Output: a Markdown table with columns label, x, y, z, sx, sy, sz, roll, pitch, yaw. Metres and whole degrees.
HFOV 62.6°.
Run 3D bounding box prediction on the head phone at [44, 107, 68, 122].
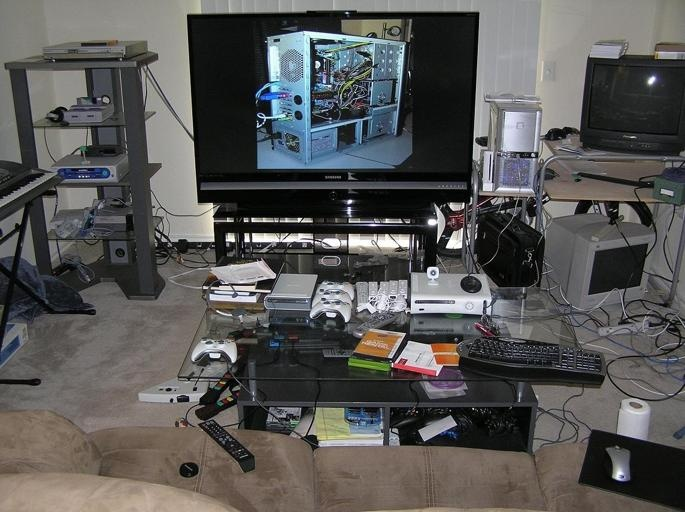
| label | x | y | z | sx | sy | sz | roll | pitch | yaw |
| --- | --- | --- | --- | --- | --- | --- | --- | --- | --- |
| head phone | -1.905 | -0.951 | 3.745 | 0.101 | 0.078 | 0.138 | -13 | 23 | -2 |

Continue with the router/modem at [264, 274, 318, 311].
| label | x | y | z | sx | sy | sz | roll | pitch | yaw |
| --- | --- | --- | --- | --- | --- | --- | --- | --- | --- |
| router/modem | -0.236 | 0.168 | 2.675 | 0.230 | 0.063 | 0.296 | 3 | 20 | 11 |

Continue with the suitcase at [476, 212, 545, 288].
| label | x | y | z | sx | sy | sz | roll | pitch | yaw |
| --- | --- | --- | --- | --- | --- | --- | --- | --- | --- |
| suitcase | 1.142 | -0.035 | 3.855 | 0.252 | 0.425 | 0.554 | -7 | 21 | -13 |

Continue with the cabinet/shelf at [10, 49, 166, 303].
| label | x | y | z | sx | sy | sz | roll | pitch | yaw |
| --- | --- | --- | --- | --- | --- | --- | --- | --- | --- |
| cabinet/shelf | -1.735 | -0.662 | 4.213 | 0.900 | 1.908 | 0.903 | 0 | 19 | 1 |

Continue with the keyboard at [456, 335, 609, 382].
| label | x | y | z | sx | sy | sz | roll | pitch | yaw |
| --- | --- | --- | --- | --- | --- | --- | --- | --- | --- |
| keyboard | 0.758 | 0.425 | 2.273 | 0.587 | 0.152 | 0.226 | 0 | 21 | 5 |

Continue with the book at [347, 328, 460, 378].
| label | x | y | z | sx | sy | sz | roll | pitch | yaw |
| --- | --- | --- | --- | --- | --- | --- | --- | --- | --- |
| book | 0.258 | 0.397 | 2.312 | 0.430 | 0.070 | 0.227 | 4 | 21 | 14 |

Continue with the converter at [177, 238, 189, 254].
| label | x | y | z | sx | sy | sz | roll | pitch | yaw |
| --- | --- | --- | --- | --- | --- | --- | --- | --- | --- |
| converter | -1.356 | -0.079 | 4.752 | 0.129 | 0.121 | 0.067 | -1 | 4 | -5 |

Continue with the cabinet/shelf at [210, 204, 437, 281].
| label | x | y | z | sx | sy | sz | roll | pitch | yaw |
| --- | --- | --- | --- | --- | --- | --- | --- | --- | --- |
| cabinet/shelf | -0.125 | -0.161 | 4.187 | 1.587 | 0.571 | 0.957 | 0 | 21 | 6 |

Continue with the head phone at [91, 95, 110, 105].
| label | x | y | z | sx | sy | sz | roll | pitch | yaw |
| --- | --- | --- | --- | --- | --- | --- | --- | --- | --- |
| head phone | -1.674 | -1.075 | 3.892 | 0.128 | 0.044 | 0.090 | -8 | 26 | -24 |

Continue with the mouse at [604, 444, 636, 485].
| label | x | y | z | sx | sy | sz | roll | pitch | yaw |
| --- | --- | --- | --- | --- | --- | --- | --- | --- | --- |
| mouse | 0.959 | 0.700 | 1.945 | 0.079 | 0.041 | 0.153 | 3 | 27 | 13 |

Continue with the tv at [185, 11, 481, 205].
| label | x | y | z | sx | sy | sz | roll | pitch | yaw |
| --- | --- | --- | --- | --- | --- | --- | --- | --- | --- |
| tv | -0.059 | -0.977 | 3.762 | 1.876 | 1.142 | 0.068 | 1 | -4 | 8 |

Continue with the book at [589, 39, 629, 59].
| label | x | y | z | sx | sy | sz | roll | pitch | yaw |
| --- | --- | --- | --- | --- | --- | --- | --- | --- | --- |
| book | 1.770 | -1.372 | 3.741 | 0.205 | 0.112 | 0.268 | 9 | 23 | 27 |
